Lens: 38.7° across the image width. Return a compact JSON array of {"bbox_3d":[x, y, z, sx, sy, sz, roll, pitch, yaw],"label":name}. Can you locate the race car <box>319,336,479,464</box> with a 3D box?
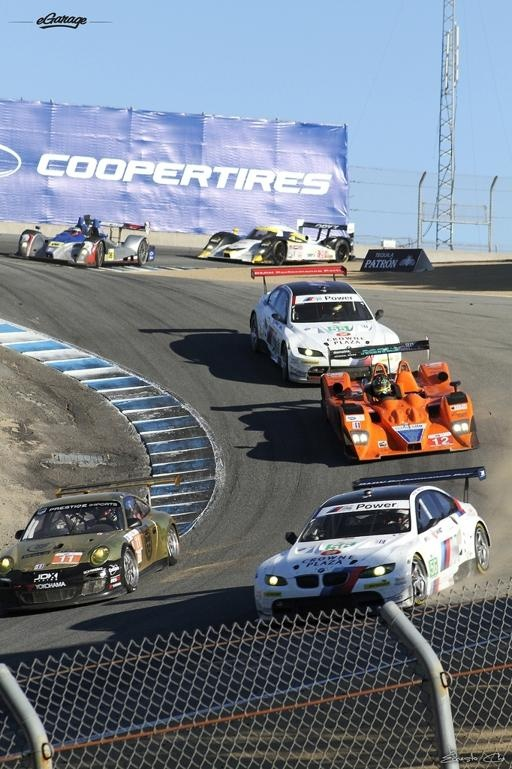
[{"bbox_3d":[2.628,0.231,13.794,2.434,1.254,3.944,-7,14,4],"label":"race car"}]

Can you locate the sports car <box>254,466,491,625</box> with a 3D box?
[{"bbox_3d":[1.336,1.611,7.720,1.562,1.009,3.187,-13,-8,33],"label":"sports car"}]

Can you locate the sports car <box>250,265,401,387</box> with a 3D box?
[{"bbox_3d":[1.463,-1.576,17.472,2.642,1.817,4.814,-5,19,-13],"label":"sports car"}]
